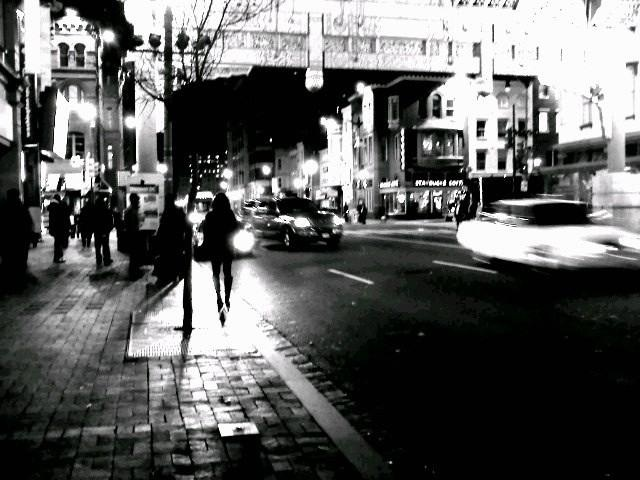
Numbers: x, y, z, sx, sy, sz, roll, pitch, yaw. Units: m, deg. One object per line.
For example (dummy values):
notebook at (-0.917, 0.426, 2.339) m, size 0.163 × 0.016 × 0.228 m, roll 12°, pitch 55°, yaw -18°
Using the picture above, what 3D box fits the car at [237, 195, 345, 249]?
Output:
car at (-0.935, -0.715, 24.768) m, size 1.582 × 1.668 × 3.764 m, roll -2°, pitch 0°, yaw -26°

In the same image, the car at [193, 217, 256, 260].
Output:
car at (-2.734, -0.183, 20.037) m, size 1.283 × 1.261 × 2.516 m, roll -1°, pitch 7°, yaw -7°
